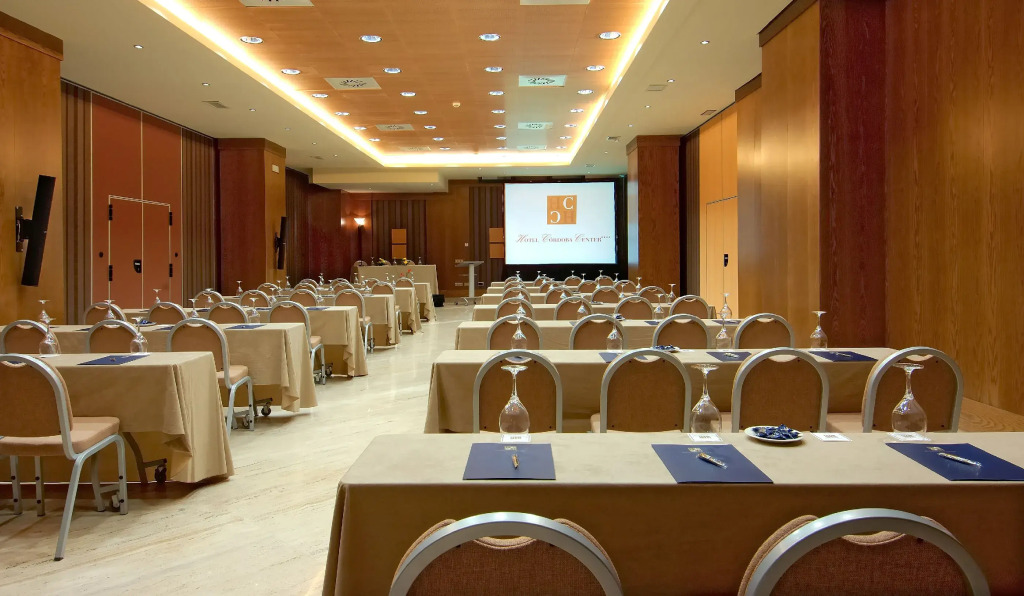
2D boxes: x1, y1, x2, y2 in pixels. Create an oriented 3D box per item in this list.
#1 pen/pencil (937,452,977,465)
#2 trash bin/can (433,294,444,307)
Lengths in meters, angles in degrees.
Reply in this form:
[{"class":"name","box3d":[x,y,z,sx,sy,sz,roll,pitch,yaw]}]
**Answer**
[{"class":"pen/pencil","box3d":[2.963,1.073,4.482,0.144,0.025,0.030,7,47,28]},{"class":"trash bin/can","box3d":[-2.309,0.126,21.395,0.327,0.323,0.319,2,5,5]}]
